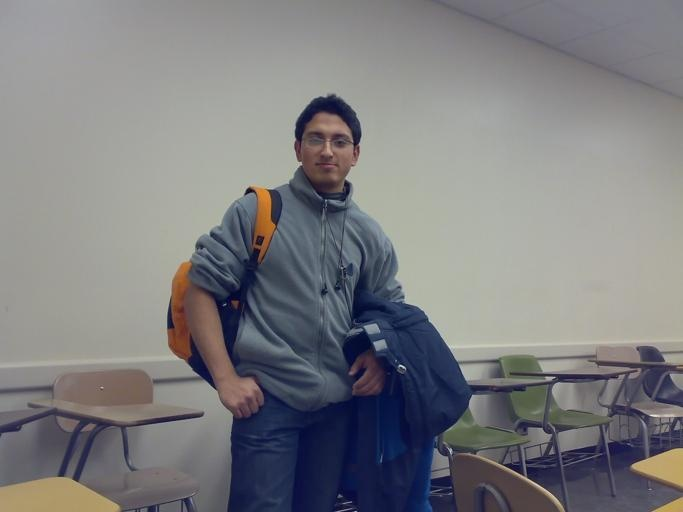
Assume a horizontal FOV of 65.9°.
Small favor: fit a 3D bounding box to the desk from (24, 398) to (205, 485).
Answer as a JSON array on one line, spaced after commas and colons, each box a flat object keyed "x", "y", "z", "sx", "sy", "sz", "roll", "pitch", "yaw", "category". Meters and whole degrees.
[{"x": -0.958, "y": 0.858, "z": 2.369, "sx": 0.361, "sy": 0.350, "sz": 0.701, "roll": 8, "pitch": -8, "yaw": 21, "category": "desk"}]
